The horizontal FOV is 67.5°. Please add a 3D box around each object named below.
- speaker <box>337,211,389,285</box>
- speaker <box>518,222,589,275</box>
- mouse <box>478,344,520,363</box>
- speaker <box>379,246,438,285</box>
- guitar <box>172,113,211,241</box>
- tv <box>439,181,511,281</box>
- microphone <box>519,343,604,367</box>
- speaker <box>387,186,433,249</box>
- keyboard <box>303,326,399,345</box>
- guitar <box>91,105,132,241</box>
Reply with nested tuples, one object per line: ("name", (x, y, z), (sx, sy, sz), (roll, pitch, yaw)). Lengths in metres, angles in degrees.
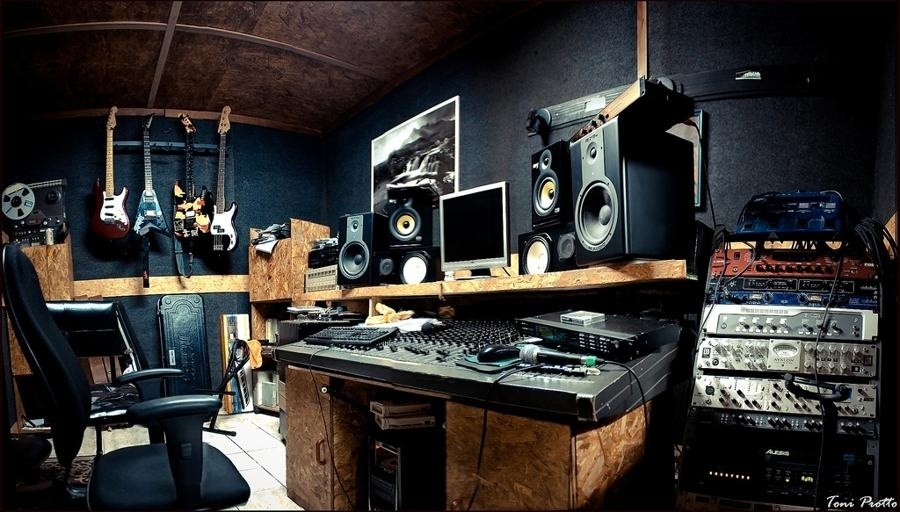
("speaker", (-0.719, -0.047, 5.412), (0.437, 0.582, 0.245), (-1, -2, 4))
("speaker", (0.674, -0.039, 4.596), (0.334, 0.322, 0.554), (-7, 7, -35))
("mouse", (0.267, 0.544, 3.859), (0.205, 0.056, 0.107), (-4, 5, -28))
("speaker", (-0.337, 0.073, 5.223), (0.471, 0.271, 0.142), (-2, -2, 21))
("guitar", (-2.596, -0.809, 6.748), (0.395, 1.275, 0.267), (-1, -2, -7))
("tv", (0.182, -0.162, 4.924), (0.798, 0.688, 0.281), (-6, -10, 33))
("microphone", (0.665, 0.567, 3.783), (0.524, 0.122, 0.148), (6, -4, 26))
("speaker", (-0.308, -0.308, 5.213), (0.349, 0.455, 0.168), (-1, -2, -3))
("keyboard", (-0.652, 0.518, 4.388), (0.544, 0.109, 0.319), (-2, -3, 33))
("guitar", (-3.331, -0.820, 6.595), (0.327, 1.316, 0.283), (-1, -2, -8))
